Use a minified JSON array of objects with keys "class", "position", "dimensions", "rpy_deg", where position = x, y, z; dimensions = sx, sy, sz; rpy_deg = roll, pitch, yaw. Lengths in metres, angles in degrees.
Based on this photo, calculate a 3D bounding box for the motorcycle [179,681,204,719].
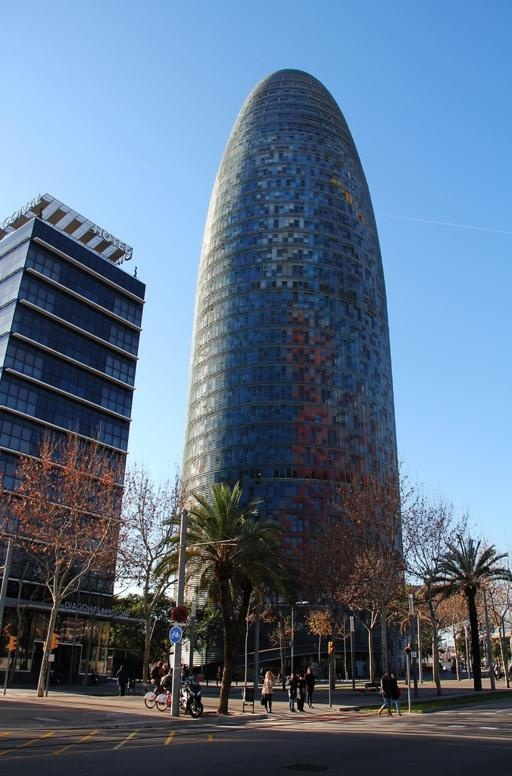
[{"class":"motorcycle","position":[-2.574,12.186,22.871],"dimensions":[0.676,1.164,1.952],"rpy_deg":[5,-37,-17]}]

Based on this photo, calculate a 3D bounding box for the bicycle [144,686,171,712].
[{"class":"bicycle","position":[-4.177,13.346,25.053],"dimensions":[1.265,0.813,0.659],"rpy_deg":[14,-38,-2]}]
